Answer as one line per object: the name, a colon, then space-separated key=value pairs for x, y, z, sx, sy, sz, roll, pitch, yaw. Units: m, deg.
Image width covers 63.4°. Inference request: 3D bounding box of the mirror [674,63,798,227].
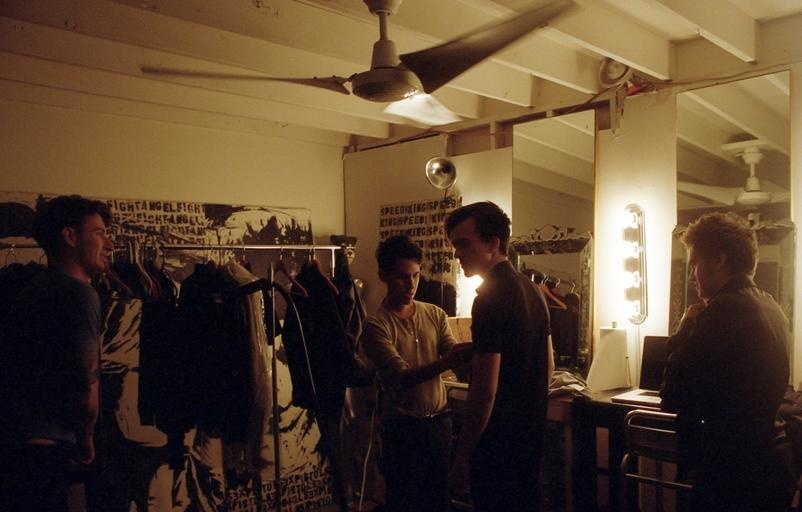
mirror: x=2.500 y=-0.808 z=5.047 sx=0.871 sy=0.995 sz=0.944 roll=0 pitch=1 yaw=30
